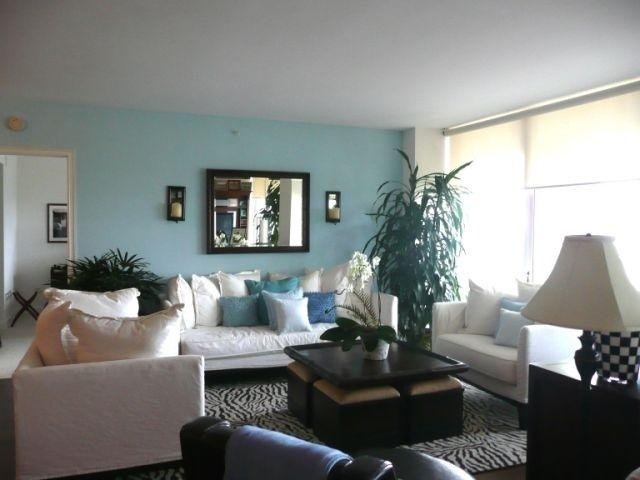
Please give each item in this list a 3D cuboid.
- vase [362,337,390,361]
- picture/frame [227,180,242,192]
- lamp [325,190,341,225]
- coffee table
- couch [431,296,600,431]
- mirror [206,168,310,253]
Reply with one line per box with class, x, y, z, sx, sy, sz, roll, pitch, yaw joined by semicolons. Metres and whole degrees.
vase;0.480;0.897;4.011;0.172;0.136;0.198;0;-8;6
picture/frame;-1.077;-0.681;6.017;0.143;0.133;0.016;0;9;-20
lamp;0.180;-0.436;6.449;0.222;0.434;0.089;-2;2;-18
coffee table;0.306;1.102;4.024;0.901;0.476;0.923;1;-3;-26
couch;1.747;1.154;4.611;0.837;1.074;1.515;4;-5;-18
mirror;-0.847;-0.387;6.105;1.024;0.877;0.045;1;-1;-22
